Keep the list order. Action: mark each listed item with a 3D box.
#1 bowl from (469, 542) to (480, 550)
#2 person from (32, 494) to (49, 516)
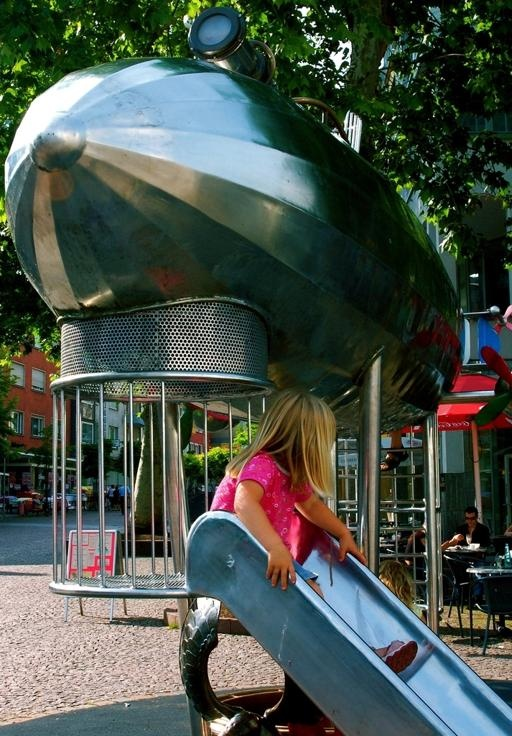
[{"bbox_3d":[3.174,2.594,10.561,0.128,0.077,0.167,1,-7,-3],"label":"bowl"},{"bbox_3d":[-15.209,9.455,50.216,1.185,1.292,2.191,1,1,-12],"label":"person"}]
